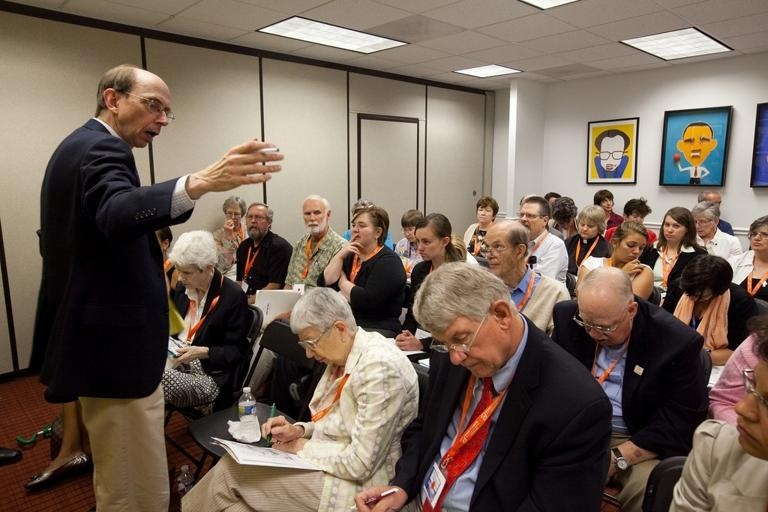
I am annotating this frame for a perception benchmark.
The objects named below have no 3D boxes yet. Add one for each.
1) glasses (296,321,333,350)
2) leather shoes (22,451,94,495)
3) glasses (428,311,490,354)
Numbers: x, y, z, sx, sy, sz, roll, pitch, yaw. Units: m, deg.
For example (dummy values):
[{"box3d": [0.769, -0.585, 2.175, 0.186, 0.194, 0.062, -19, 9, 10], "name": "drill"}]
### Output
[{"box3d": [-0.396, 0.480, 2.902, 0.159, 0.053, 0.153, -37, 6, -31], "name": "glasses"}, {"box3d": [-2.360, 1.587, 3.772, 0.487, 0.213, 0.166, -18, 17, -27], "name": "leather shoes"}, {"box3d": [0.340, 0.395, 2.515, 0.151, 0.235, 0.291, -4, 10, -35], "name": "glasses"}]
